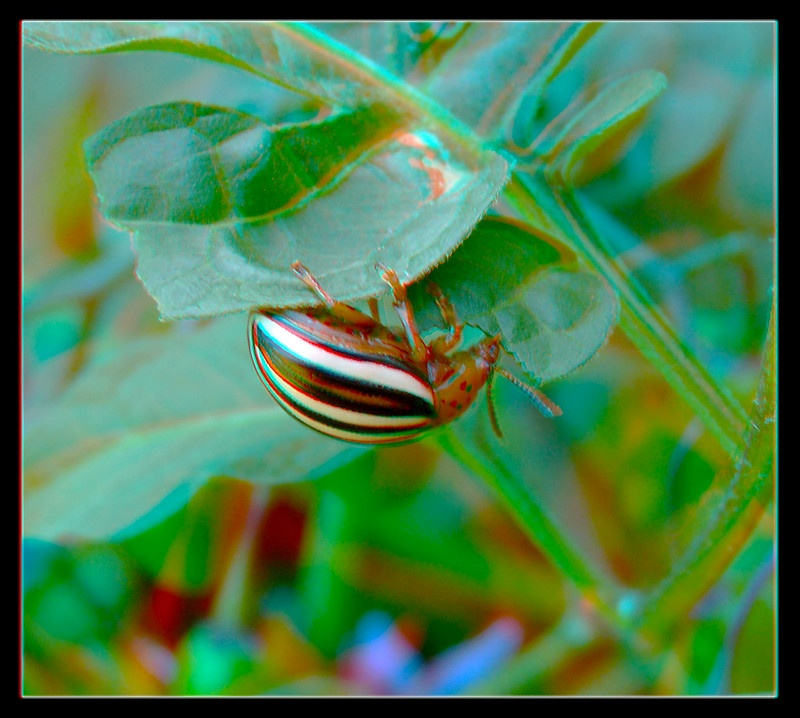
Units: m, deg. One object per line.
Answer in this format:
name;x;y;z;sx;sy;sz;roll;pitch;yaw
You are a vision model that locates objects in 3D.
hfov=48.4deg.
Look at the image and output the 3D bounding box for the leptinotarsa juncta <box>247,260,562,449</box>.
leptinotarsa juncta;-0.016;0.010;0.952;0.215;0.205;0.087;16;-28;-3
